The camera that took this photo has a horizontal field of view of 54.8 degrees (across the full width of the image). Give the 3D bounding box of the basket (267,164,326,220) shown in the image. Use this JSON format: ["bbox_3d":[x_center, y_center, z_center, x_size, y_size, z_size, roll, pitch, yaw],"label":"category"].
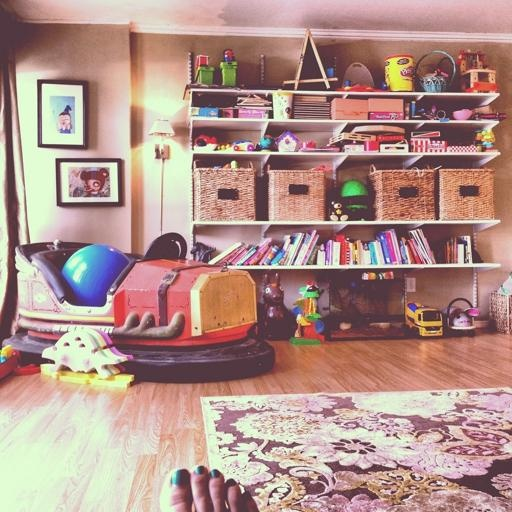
[{"bbox_3d":[0.292,-0.439,3.490,0.440,0.286,0.389,0,0,1],"label":"basket"}]

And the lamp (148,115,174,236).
[{"bbox_3d":[-0.684,-0.604,3.595,0.182,0.885,0.299,-1,3,-10],"label":"lamp"}]

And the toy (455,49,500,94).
[{"bbox_3d":[1.673,-1.394,3.780,0.279,0.372,0.292,4,38,36],"label":"toy"}]

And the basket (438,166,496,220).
[{"bbox_3d":[1.717,-0.464,3.718,0.427,0.390,0.467,-6,10,-26],"label":"basket"}]

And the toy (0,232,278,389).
[{"bbox_3d":[-0.660,0.252,2.729,1.271,0.467,0.752,0,0,13],"label":"toy"}]

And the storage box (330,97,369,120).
[{"bbox_3d":[0.683,-1.064,3.568,0.221,0.111,0.193,1,12,2],"label":"storage box"}]

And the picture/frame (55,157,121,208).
[{"bbox_3d":[-1.207,-0.544,3.608,0.528,0.323,0.024,3,6,18],"label":"picture/frame"}]

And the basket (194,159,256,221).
[{"bbox_3d":[-0.205,-0.400,3.525,0.649,0.506,0.365,0,0,-5],"label":"basket"}]

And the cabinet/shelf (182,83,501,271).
[{"bbox_3d":[0.681,-0.563,3.834,2.513,1.156,0.515,-1,6,-10],"label":"cabinet/shelf"}]
